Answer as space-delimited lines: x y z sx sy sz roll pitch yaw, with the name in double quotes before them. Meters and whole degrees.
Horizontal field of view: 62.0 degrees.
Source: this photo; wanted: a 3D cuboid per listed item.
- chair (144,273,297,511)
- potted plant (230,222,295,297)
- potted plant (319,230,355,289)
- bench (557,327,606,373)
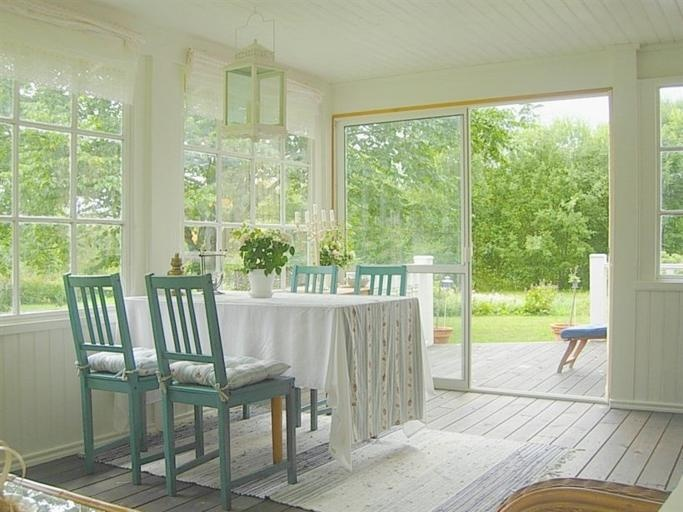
"chair" -0.727 0.659 3.124 0.640 1.149 0.844 -1 1 -41
"potted plant" -0.493 0.064 3.646 0.365 0.410 0.400 9 -9 -36
"potted plant" -0.078 0.022 5.141 0.252 0.318 0.230 -1 -17 -8
"bench" 2.627 0.983 6.206 0.421 0.250 0.581 0 -14 16
